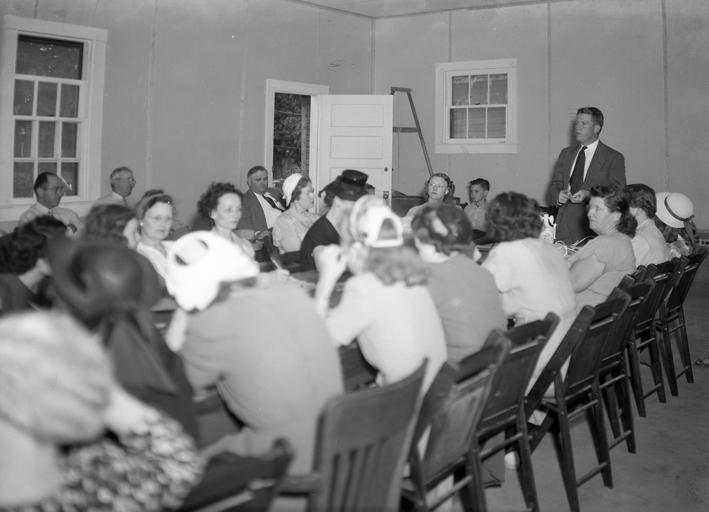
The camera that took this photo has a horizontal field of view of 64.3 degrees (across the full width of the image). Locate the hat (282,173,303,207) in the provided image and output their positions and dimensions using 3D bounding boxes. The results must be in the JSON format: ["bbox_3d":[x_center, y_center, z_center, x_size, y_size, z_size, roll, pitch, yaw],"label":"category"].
[{"bbox_3d":[-0.521,-0.522,4.637,0.099,0.263,0.206,15,13,5],"label":"hat"}]

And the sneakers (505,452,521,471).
[{"bbox_3d":[0.844,1.092,3.020,0.065,0.115,0.129,1,6,14],"label":"sneakers"}]
